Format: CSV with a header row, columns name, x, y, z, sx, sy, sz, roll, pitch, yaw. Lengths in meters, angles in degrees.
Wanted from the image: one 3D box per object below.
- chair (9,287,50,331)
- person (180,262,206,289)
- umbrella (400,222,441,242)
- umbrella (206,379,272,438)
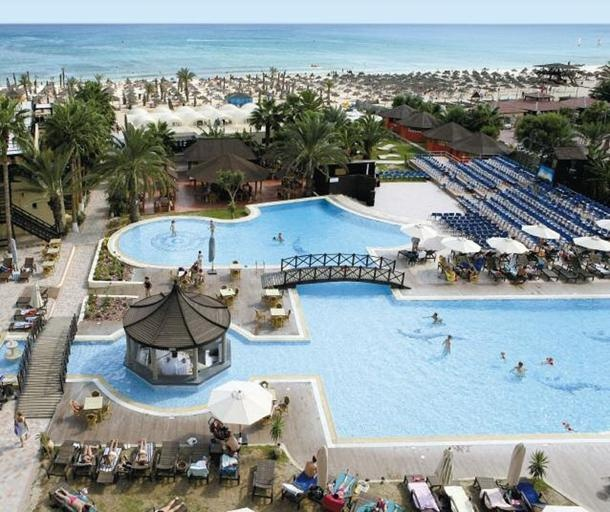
name,x,y,z,sx,sy,sz,roll,pitch,yaw
chair,-13.469,2.629,21.570,0.874,0.463,2.306,5,36,-19
person,-6.379,1.121,25.060,1.308,0.556,1.571,-1,21,-7
umbrella,7.173,-1.570,28.090,1.880,0.760,1.862,20,35,37
umbrella,-2.219,5.075,15.041,2.092,0.881,1.675,1,25,-8
